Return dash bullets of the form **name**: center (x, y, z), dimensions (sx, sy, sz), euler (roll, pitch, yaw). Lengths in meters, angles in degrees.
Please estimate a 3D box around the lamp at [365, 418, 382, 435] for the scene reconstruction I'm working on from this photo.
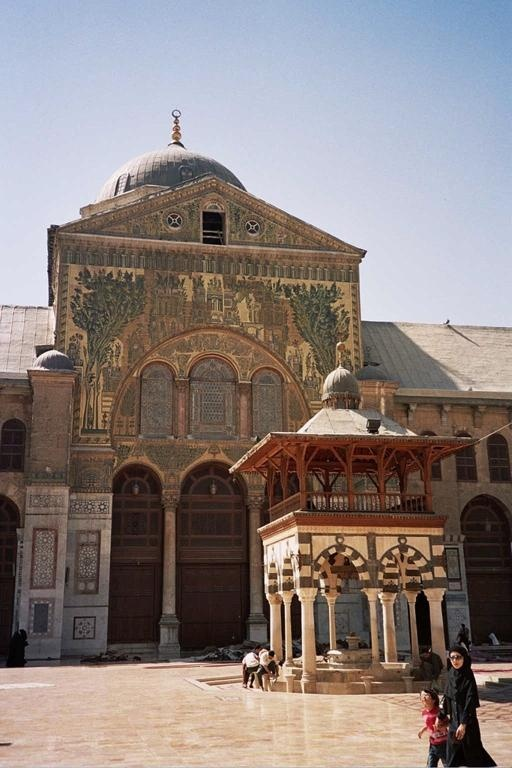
- **lamp**: center (2.861, 1.042, 17.314), dimensions (0.384, 0.472, 0.347), euler (2, -18, -2)

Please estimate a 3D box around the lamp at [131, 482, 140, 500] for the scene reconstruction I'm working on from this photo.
- **lamp**: center (-4.478, 3.871, 26.457), dimensions (0.272, 0.554, 0.460), euler (-1, -18, -3)

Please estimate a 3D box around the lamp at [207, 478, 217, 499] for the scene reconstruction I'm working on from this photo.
- **lamp**: center (-1.643, 3.962, 27.305), dimensions (0.285, 0.661, 0.401), euler (-5, -18, 10)

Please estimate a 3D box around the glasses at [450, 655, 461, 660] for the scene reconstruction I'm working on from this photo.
- **glasses**: center (1.810, 2.467, 6.425), dimensions (0.077, 0.030, 0.077), euler (-2, -32, 14)

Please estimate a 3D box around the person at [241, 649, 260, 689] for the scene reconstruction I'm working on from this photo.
- **person**: center (-0.119, 6.456, 16.138), dimensions (0.381, 0.738, 0.680), euler (-1, -18, -2)
